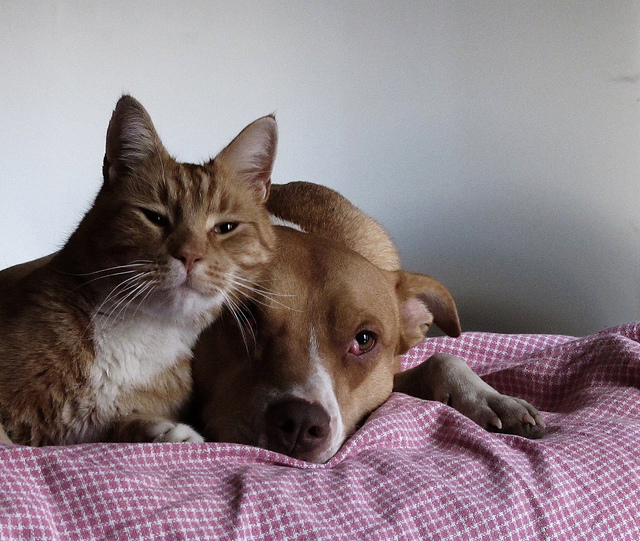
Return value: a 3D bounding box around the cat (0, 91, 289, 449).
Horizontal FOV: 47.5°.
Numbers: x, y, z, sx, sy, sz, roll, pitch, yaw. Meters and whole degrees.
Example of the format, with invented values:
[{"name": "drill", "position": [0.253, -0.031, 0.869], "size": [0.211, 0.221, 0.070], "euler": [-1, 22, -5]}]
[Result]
[{"name": "cat", "position": [-0.503, 0.012, 2.212], "size": [0.877, 1.037, 0.557], "euler": [-1, 13, -22]}]
